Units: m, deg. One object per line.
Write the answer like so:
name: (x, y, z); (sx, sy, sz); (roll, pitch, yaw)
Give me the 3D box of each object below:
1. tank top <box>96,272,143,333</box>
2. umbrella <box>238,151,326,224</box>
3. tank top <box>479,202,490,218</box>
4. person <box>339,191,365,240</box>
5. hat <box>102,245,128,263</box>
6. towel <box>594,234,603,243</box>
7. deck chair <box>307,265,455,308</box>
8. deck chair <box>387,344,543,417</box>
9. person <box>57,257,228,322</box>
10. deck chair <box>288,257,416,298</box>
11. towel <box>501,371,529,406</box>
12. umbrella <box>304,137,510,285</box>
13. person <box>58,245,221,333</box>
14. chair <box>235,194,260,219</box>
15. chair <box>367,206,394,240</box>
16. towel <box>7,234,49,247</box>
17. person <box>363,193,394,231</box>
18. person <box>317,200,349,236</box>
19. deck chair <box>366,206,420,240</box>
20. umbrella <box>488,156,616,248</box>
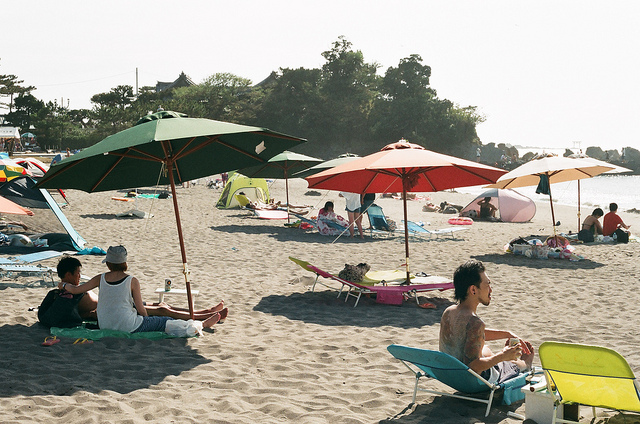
tank top: (-2.973, 1.326, 10.703); (0.666, 0.888, 0.806); (3, 8, 9)
umbrella: (-0.977, -0.544, 21.105); (2.277, 2.092, 2.103); (-13, 14, -30)
tank top: (5.350, -0.055, 23.327); (0.418, 0.533, 0.303); (2, -19, 11)
person: (0.843, -0.068, 18.048); (0.680, 1.363, 0.693); (3, 4, 32)
hat: (-2.899, 0.599, 10.236); (0.293, 0.225, 0.242); (0, 3, -22)
towel: (6.918, 0.653, 17.761); (0.189, 0.157, 0.197); (-1, 4, -33)
deck chair: (1.192, 1.332, 12.302); (1.889, 0.496, 0.990); (0, 1, -6)
deck chair: (1.685, 2.074, 9.096); (1.624, 0.626, 1.000); (-5, 3, -43)
person: (-2.824, 1.373, 11.853); (1.090, 1.329, 3.479); (-10, -8, 36)
deck chair: (0.796, 1.175, 12.633); (1.719, 0.509, 0.917); (-4, 4, -18)
towel: (2.505, 2.264, 9.209); (0.302, 0.142, 0.371); (-3, 19, 41)
umbrella: (1.436, 0.329, 12.602); (2.885, 2.026, 2.972); (-6, -4, 25)
person: (-2.709, 1.202, 10.695); (1.467, 0.855, 1.238); (8, 1, 31)
chair: (-2.336, -0.140, 22.940); (0.523, 0.708, 0.456); (-30, 4, 34)
chair: (1.734, 0.277, 18.540); (0.702, 0.724, 1.099); (1, 3, -35)
towel: (-5.856, 0.577, 14.586); (0.585, 0.241, 0.716); (2, 3, 23)
person: (1.568, -0.031, 18.956); (0.613, 1.097, 0.547); (2, 5, 38)
person: (0.335, 0.111, 18.332); (0.892, 0.851, 0.742); (-3, 14, -20)
deck chair: (1.710, 0.234, 18.705); (0.948, 0.732, 0.787); (1, 3, 5)
umbrella: (5.189, -0.240, 16.054); (1.923, 1.760, 1.985); (-5, -3, -10)
